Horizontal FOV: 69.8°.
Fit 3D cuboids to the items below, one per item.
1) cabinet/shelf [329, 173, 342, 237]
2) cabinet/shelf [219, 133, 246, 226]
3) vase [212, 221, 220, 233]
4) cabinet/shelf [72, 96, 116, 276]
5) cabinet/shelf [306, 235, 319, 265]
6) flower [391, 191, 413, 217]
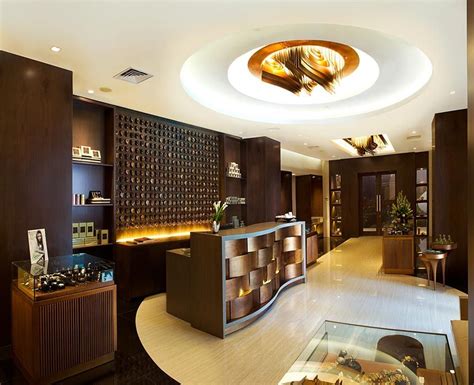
[{"bbox_3d":[4.287,0.553,14.658,0.621,2.508,0.209,-3,1,44],"label":"cabinet/shelf"},{"bbox_3d":[-0.117,-0.354,9.193,0.333,2.409,1.088,-3,1,28],"label":"cabinet/shelf"},{"bbox_3d":[-0.312,0.526,5.182,0.092,0.186,0.157,-3,1,38],"label":"vase"},{"bbox_3d":[-2.717,-0.160,6.418,0.878,3.477,0.468,-4,1,-45],"label":"cabinet/shelf"},{"bbox_3d":[1.980,1.521,8.944,0.226,0.706,0.769,-1,-2,20],"label":"cabinet/shelf"},{"bbox_3d":[4.943,0.310,10.123,0.688,1.024,0.787,2,3,27],"label":"flower"}]
